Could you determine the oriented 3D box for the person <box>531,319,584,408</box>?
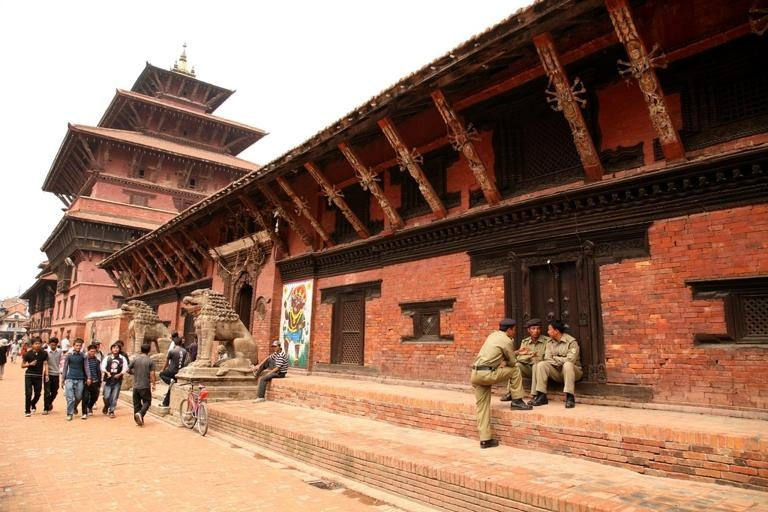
[{"bbox_3d":[3.335,2.034,9.245,0.856,1.160,1.204,-6,2,28],"label":"person"}]

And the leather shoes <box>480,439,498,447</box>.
[{"bbox_3d":[1.778,3.166,8.079,0.357,0.135,0.124,2,-5,-25],"label":"leather shoes"}]

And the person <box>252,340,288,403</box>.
[{"bbox_3d":[-3.238,3.300,13.471,1.037,1.431,0.624,17,-51,-20],"label":"person"}]

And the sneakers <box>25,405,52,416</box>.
[{"bbox_3d":[-9.017,3.966,12.199,0.706,0.275,0.218,-10,-7,27],"label":"sneakers"}]

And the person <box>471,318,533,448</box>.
[{"bbox_3d":[2.006,2.186,8.305,0.691,1.670,1.287,-6,3,39],"label":"person"}]

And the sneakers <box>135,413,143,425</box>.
[{"bbox_3d":[-5.772,3.815,11.163,0.155,0.362,0.215,-9,3,-27],"label":"sneakers"}]
